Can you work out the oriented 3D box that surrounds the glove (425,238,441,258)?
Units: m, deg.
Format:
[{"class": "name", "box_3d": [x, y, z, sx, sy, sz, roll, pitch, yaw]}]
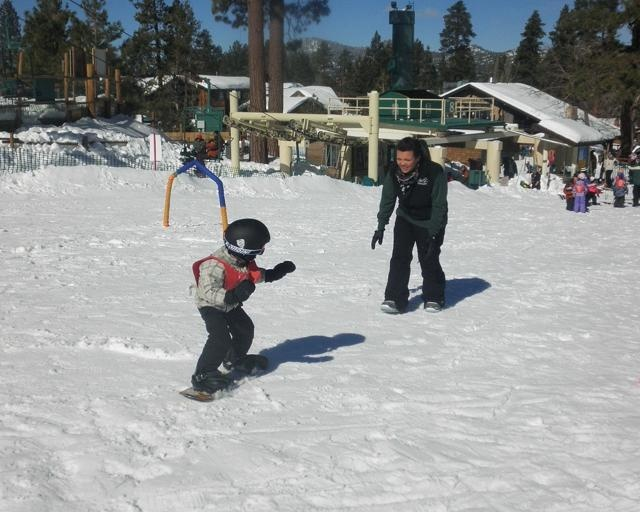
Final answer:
[{"class": "glove", "box_3d": [1.483, -0.117, 9.661, 0.190, 0.229, 0.241, 5, 8, 19]}]

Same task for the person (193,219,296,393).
[{"class": "person", "box_3d": [-0.783, 0.574, 7.881, 1.236, 1.989, 1.135, 5, 26, 3]}]

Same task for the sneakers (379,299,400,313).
[{"class": "sneakers", "box_3d": [0.883, 0.653, 9.814, 0.278, 0.117, 0.118, 6, 7, -43]}]

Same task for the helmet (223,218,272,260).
[{"class": "helmet", "box_3d": [-0.667, -0.140, 6.840, 0.436, 0.326, 0.327, -17, 42, -21]}]

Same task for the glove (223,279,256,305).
[{"class": "glove", "box_3d": [-0.720, 0.307, 6.666, 0.174, 0.295, 0.112, 44, 25, -29]}]

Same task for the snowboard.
[{"class": "snowboard", "box_3d": [-0.894, 1.119, 7.112, 0.909, 0.350, 0.268, -20, 27, -39]}]

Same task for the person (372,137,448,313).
[{"class": "person", "box_3d": [1.207, -0.382, 9.743, 0.957, 2.267, 0.510, 6, 14, 7]}]

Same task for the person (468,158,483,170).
[{"class": "person", "box_3d": [6.679, -3.995, 32.649, 0.741, 0.646, 0.517, 3, 14, 9]}]

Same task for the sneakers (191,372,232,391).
[{"class": "sneakers", "box_3d": [-0.997, 1.123, 6.829, 0.367, 0.143, 0.143, 1, 48, -19]}]
